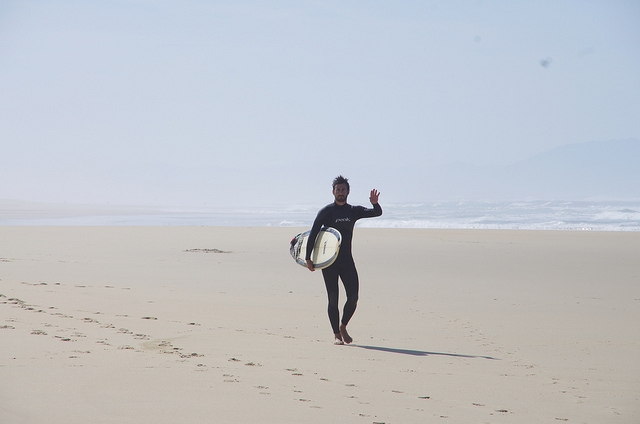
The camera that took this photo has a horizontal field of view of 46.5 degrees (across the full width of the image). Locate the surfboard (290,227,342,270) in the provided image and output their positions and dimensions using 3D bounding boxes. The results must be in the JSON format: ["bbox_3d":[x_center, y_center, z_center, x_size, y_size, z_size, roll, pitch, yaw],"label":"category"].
[{"bbox_3d":[-0.071,0.654,12.357,1.008,0.756,0.253,-6,-30,31],"label":"surfboard"}]

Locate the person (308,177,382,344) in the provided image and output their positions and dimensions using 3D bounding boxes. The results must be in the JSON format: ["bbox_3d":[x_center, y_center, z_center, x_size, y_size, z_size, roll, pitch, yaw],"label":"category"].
[{"bbox_3d":[0.372,0.633,12.221,1.061,2.356,0.624,-7,13,-33],"label":"person"}]
